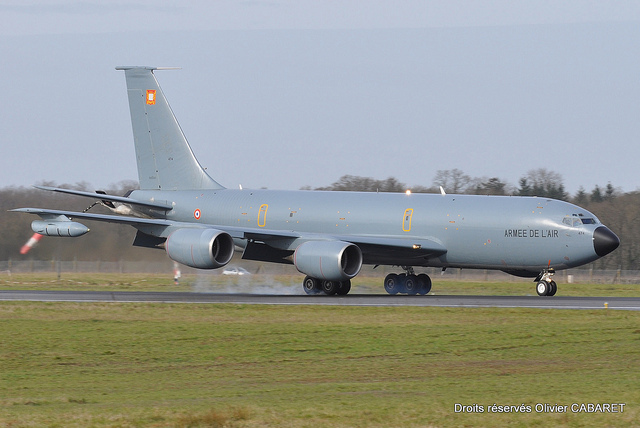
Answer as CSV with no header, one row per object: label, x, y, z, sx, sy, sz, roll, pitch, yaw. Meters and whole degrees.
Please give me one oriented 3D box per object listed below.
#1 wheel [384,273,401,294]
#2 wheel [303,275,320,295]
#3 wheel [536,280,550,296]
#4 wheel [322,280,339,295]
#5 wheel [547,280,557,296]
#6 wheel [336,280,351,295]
wheel,2.580,2.471,35.278,0.587,0.694,0.185,1,-10,35
wheel,-0.307,2.470,34.484,0.619,0.603,0.398,3,-7,19
wheel,7.376,2.463,33.128,0.248,0.528,0.450,11,-8,-28
wheel,0.375,2.547,34.210,0.589,0.452,0.373,4,-6,7
wheel,7.702,2.465,33.089,0.166,0.524,0.430,4,-6,28
wheel,0.884,2.563,34.585,0.728,0.448,0.177,5,6,-40
